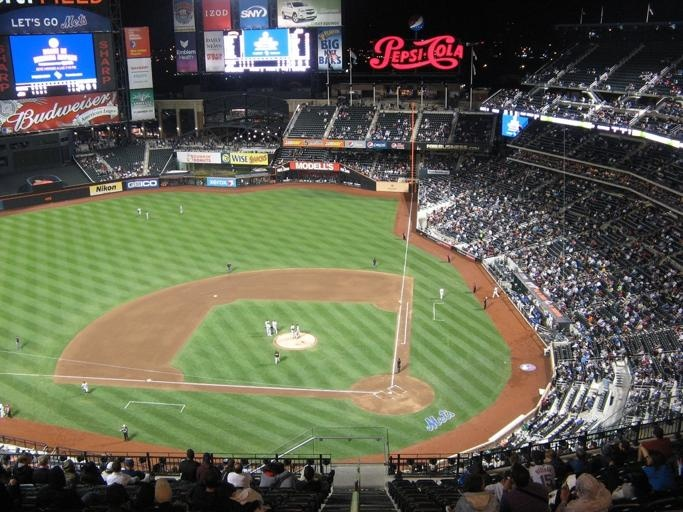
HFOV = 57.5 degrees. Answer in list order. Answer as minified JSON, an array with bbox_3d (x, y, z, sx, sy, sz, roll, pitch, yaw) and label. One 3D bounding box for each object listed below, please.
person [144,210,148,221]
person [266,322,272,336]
[{"bbox_3d":[-19.432,-4.062,62.857,0.432,0.299,1.422,-3,18,-14],"label":"person"},{"bbox_3d":[-4.676,4.731,40.559,0.530,0.212,0.781,-5,65,-12],"label":"person"}]
